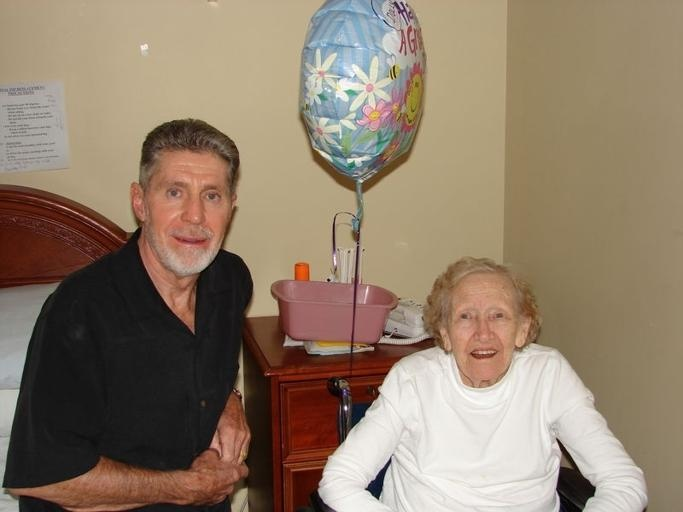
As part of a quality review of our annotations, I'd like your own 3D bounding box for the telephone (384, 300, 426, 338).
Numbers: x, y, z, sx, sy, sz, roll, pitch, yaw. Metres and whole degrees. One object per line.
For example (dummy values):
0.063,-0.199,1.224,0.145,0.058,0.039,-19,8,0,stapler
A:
0.262,0.250,2.339,0.106,0.077,0.160,9,12,13,telephone
